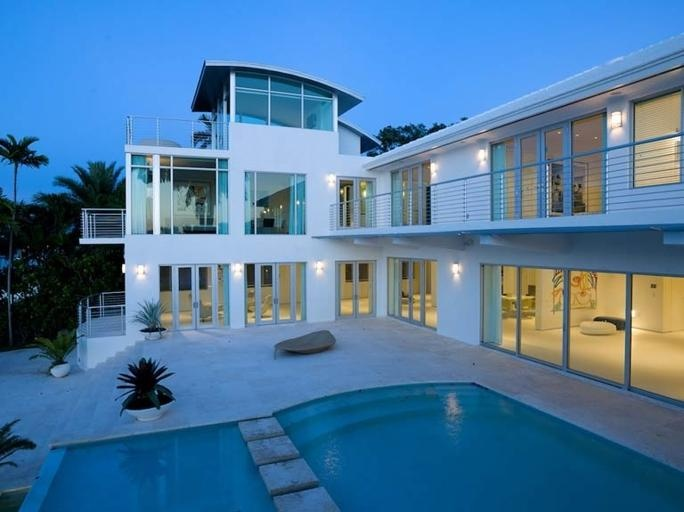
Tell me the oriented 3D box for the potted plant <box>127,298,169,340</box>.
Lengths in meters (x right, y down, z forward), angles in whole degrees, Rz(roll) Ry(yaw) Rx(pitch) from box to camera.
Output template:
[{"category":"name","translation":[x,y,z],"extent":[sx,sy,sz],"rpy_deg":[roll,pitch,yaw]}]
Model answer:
[{"category":"potted plant","translation":[-6.662,2.246,17.027],"extent":[1.204,1.319,1.207],"rpy_deg":[-3,6,-20]}]

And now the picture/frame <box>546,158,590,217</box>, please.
[{"category":"picture/frame","translation":[5.905,-1.777,12.586],"extent":[0.054,1.174,0.857],"rpy_deg":[-10,1,-26]}]

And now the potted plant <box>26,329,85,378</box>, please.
[{"category":"potted plant","translation":[-9.844,3.465,16.636],"extent":[1.254,1.355,1.457],"rpy_deg":[-7,1,19]}]

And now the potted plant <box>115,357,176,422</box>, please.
[{"category":"potted plant","translation":[-4.424,2.973,10.895],"extent":[1.274,1.221,1.429],"rpy_deg":[-5,0,-14]}]
